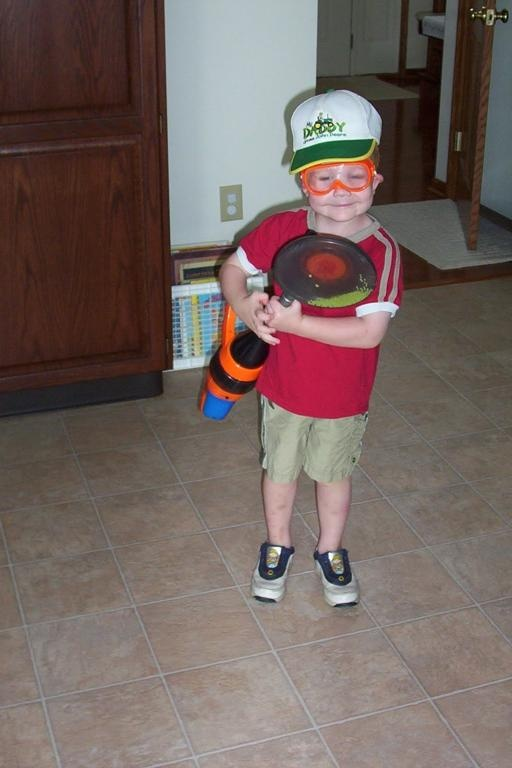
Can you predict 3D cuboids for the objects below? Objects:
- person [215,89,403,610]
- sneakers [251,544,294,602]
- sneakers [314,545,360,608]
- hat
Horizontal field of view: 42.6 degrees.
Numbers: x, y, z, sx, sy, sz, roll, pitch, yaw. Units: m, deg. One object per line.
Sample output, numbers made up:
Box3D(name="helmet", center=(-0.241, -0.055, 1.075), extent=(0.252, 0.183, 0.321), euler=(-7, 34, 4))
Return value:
Box3D(name="person", center=(0.111, 0.004, 1.240), extent=(0.290, 1.020, 0.376), euler=(-6, 24, -15))
Box3D(name="sneakers", center=(0.037, 0.414, 1.431), extent=(0.060, 0.066, 0.154), euler=(3, 20, 10))
Box3D(name="sneakers", center=(0.173, 0.422, 1.415), extent=(0.060, 0.062, 0.146), euler=(-6, 25, -6))
Box3D(name="hat", center=(0.128, -0.407, 1.061), extent=(0.140, 0.125, 0.175), euler=(3, 23, 7))
